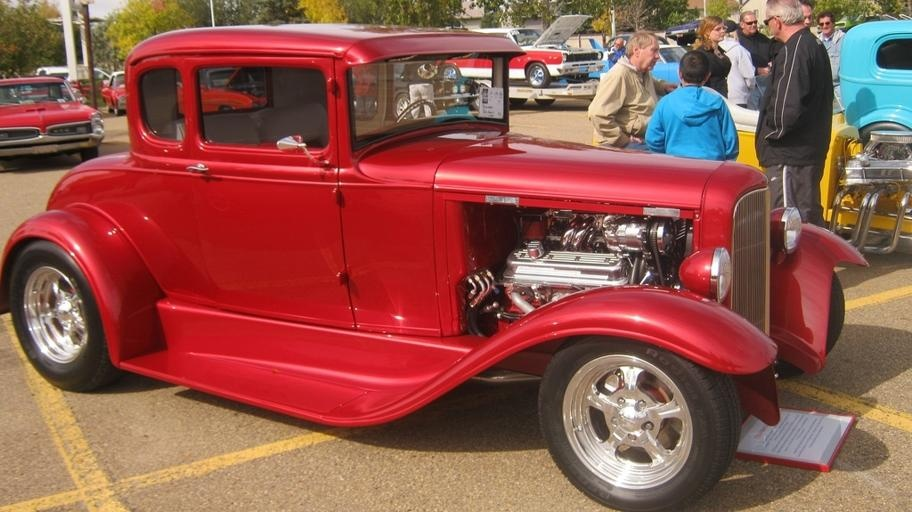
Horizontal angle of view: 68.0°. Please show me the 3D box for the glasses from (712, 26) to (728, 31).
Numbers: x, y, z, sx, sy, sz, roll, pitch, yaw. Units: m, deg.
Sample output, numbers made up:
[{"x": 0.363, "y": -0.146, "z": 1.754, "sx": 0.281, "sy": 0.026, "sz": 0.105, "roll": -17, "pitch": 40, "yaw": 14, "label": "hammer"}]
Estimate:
[{"x": 3.785, "y": -3.247, "z": 9.646, "sx": 0.193, "sy": 0.055, "sz": 0.186, "roll": -12, "pitch": 16, "yaw": -33, "label": "glasses"}]

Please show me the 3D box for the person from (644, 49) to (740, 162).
[{"x": 2.450, "y": -1.464, "z": 6.990, "sx": 0.949, "sy": 1.208, "sz": 0.809, "roll": 4, "pitch": 25, "yaw": 18, "label": "person"}]
